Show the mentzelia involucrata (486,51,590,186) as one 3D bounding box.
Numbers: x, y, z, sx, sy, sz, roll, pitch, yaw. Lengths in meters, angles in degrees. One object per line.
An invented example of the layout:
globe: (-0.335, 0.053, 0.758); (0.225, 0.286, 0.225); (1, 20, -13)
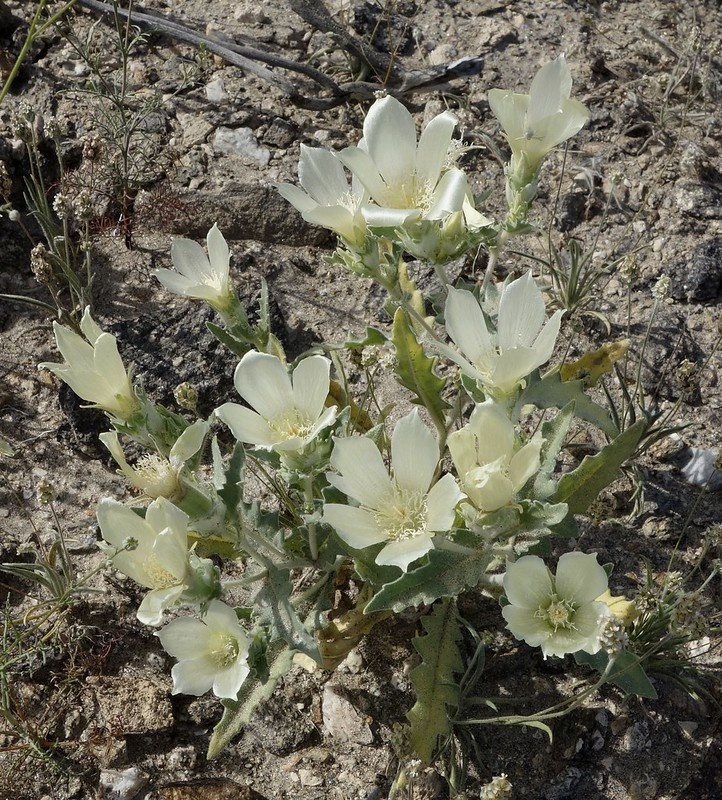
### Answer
mentzelia involucrata: (0.437, -0.711, 2.688); (0.316, 0.361, 0.309); (1, 83, 5)

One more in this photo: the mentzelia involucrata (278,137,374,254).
mentzelia involucrata: (-0.084, -0.540, 2.619); (0.259, 0.131, 0.278); (-13, 67, 29)

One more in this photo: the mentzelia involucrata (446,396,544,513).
mentzelia involucrata: (0.322, 0.115, 2.389); (0.234, 0.161, 0.255); (-9, 93, 26)

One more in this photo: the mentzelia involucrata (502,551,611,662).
mentzelia involucrata: (0.465, 0.545, 2.455); (0.251, 0.375, 0.201); (0, 42, -1)

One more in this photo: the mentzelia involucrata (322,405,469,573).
mentzelia involucrata: (0.083, 0.213, 2.347); (0.332, 0.160, 0.368); (-6, 82, 17)

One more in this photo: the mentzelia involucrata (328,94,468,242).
mentzelia involucrata: (0.106, -0.585, 2.594); (0.345, 0.169, 0.341); (-26, 81, 4)

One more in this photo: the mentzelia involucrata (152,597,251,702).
mentzelia involucrata: (-0.338, 0.582, 2.367); (0.241, 0.102, 0.220); (-48, 43, 5)

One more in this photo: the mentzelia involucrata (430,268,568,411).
mentzelia involucrata: (0.338, -0.139, 2.504); (0.276, 0.391, 0.305); (7, 43, 6)
